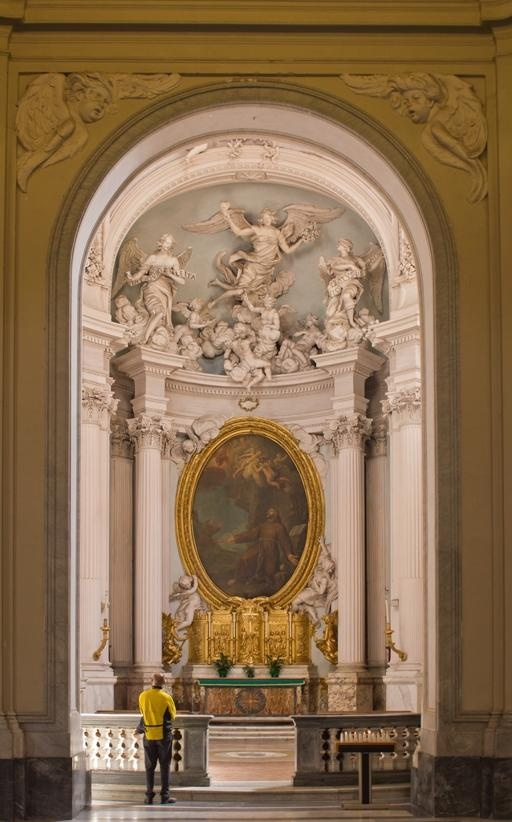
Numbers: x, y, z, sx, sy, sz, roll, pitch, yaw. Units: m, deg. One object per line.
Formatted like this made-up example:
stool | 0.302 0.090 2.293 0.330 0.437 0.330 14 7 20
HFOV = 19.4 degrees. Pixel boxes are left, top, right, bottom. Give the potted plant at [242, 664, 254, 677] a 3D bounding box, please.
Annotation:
potted plant | -0.095 3.571 20.352 0.155 0.175 0.115 -1 -10 -2

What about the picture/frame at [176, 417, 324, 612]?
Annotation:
picture/frame | -0.088 1.561 21.200 2.911 3.500 0.268 1 -18 -7

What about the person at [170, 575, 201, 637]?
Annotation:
person | -1.001 2.736 20.839 0.261 0.853 0.542 -10 -13 39

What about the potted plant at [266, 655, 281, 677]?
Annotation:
potted plant | 0.248 3.520 20.383 0.187 0.286 0.260 -2 -10 1

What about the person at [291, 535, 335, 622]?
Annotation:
person | 0.805 2.412 20.735 0.607 1.212 0.214 -3 -10 7

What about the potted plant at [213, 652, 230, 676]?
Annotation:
potted plant | -0.454 3.464 20.325 0.260 0.358 0.273 2 -21 -6

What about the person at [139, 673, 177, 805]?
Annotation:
person | -0.909 2.983 13.550 0.327 1.136 0.559 -1 -10 -5
